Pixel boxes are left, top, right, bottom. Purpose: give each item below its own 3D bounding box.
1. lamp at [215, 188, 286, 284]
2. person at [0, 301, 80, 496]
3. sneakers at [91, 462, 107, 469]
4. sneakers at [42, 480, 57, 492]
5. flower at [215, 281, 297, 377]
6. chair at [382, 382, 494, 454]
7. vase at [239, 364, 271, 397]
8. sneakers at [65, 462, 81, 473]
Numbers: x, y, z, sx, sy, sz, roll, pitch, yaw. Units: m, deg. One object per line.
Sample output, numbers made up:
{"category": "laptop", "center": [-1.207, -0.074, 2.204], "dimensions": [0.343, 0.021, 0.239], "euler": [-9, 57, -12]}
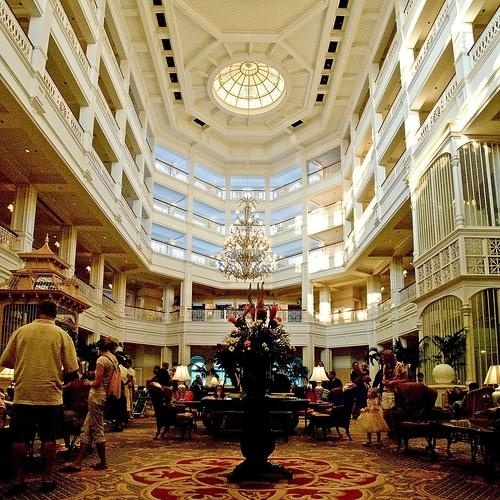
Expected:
{"category": "lamp", "center": [-0.154, -0.650, 17.718], "dimensions": [1.649, 4.084, 1.770], "euler": [20, -26, -41]}
{"category": "person", "center": [-1.761, 1.153, 3.626], "dimensions": [0.591, 1.491, 0.289], "euler": [9, -20, -18]}
{"category": "sneakers", "center": [-1.607, 2.295, 4.748], "dimensions": [0.151, 0.062, 0.237], "euler": [8, -19, -18]}
{"category": "sneakers", "center": [-1.617, 1.889, 3.589], "dimensions": [0.073, 0.062, 0.193], "euler": [1, -18, -2]}
{"category": "flower", "center": [0.034, 1.027, 5.550], "dimensions": [1.160, 1.391, 1.101], "euler": [1, -16, -5]}
{"category": "chair", "center": [2.697, 2.268, 6.198], "dimensions": [0.961, 1.122, 0.973], "euler": [4, -18, -12]}
{"category": "vase", "center": [0.075, 1.449, 4.925], "dimensions": [0.341, 0.335, 0.332], "euler": [4, -18, -4]}
{"category": "sneakers", "center": [-1.799, 2.197, 4.508], "dimensions": [0.198, 0.065, 0.067], "euler": [5, -9, 0]}
